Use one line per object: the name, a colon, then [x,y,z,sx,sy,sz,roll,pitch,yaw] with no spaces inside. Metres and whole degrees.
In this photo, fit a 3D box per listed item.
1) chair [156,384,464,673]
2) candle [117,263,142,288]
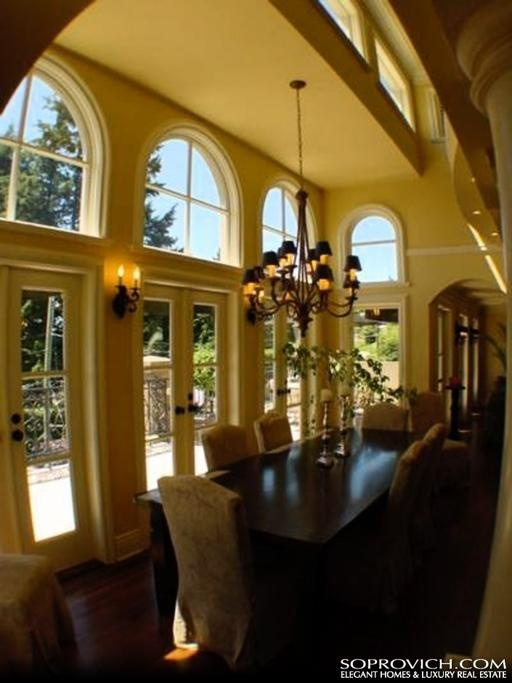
chair: [0.237,0.892,2.281,1.340,0.952,0.783,-5,0,-44]
candle: [-0.867,-0.450,3.394,0.215,0.156,0.101,-5,0,-43]
